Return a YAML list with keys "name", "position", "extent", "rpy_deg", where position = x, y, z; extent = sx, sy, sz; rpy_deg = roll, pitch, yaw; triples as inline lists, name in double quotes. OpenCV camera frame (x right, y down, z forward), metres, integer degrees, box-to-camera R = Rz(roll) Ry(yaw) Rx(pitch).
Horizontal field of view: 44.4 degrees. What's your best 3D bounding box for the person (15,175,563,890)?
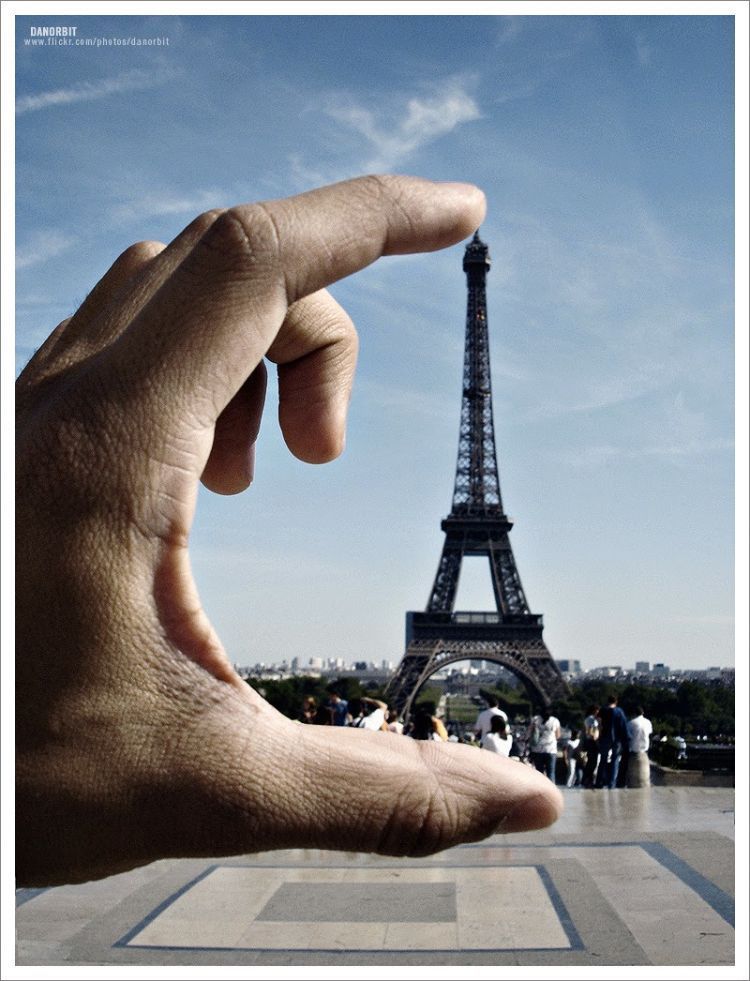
- name: "person"
  position: [-0.073, 0.102, 2.071]
  extent: [1.219, 1.455, 0.969]
  rpy_deg: [1, -5, -16]
